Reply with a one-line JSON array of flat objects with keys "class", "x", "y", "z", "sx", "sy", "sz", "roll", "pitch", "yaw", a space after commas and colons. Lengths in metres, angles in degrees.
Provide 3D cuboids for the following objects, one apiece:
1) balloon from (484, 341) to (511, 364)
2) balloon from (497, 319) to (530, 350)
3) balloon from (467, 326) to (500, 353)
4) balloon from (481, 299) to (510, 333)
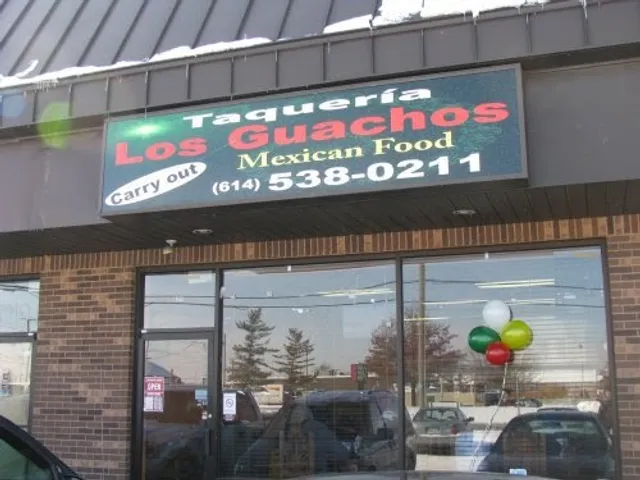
[{"class": "balloon", "x": 2.424, "y": 1.569, "z": 11.556, "sx": 0.299, "sy": 0.306, "sz": 0.350, "roll": -22, "pitch": -33, "yaw": 6}, {"class": "balloon", "x": 2.645, "y": 1.298, "z": 11.566, "sx": 0.403, "sy": 0.439, "sz": 0.388, "roll": 13, "pitch": -7, "yaw": -7}, {"class": "balloon", "x": 2.242, "y": 1.385, "z": 11.558, "sx": 0.429, "sy": 0.301, "sz": 0.311, "roll": 2, "pitch": 2, "yaw": 0}, {"class": "balloon", "x": 2.428, "y": 1.050, "z": 11.550, "sx": 0.431, "sy": 0.485, "sz": 0.419, "roll": 1, "pitch": 4, "yaw": 4}]
